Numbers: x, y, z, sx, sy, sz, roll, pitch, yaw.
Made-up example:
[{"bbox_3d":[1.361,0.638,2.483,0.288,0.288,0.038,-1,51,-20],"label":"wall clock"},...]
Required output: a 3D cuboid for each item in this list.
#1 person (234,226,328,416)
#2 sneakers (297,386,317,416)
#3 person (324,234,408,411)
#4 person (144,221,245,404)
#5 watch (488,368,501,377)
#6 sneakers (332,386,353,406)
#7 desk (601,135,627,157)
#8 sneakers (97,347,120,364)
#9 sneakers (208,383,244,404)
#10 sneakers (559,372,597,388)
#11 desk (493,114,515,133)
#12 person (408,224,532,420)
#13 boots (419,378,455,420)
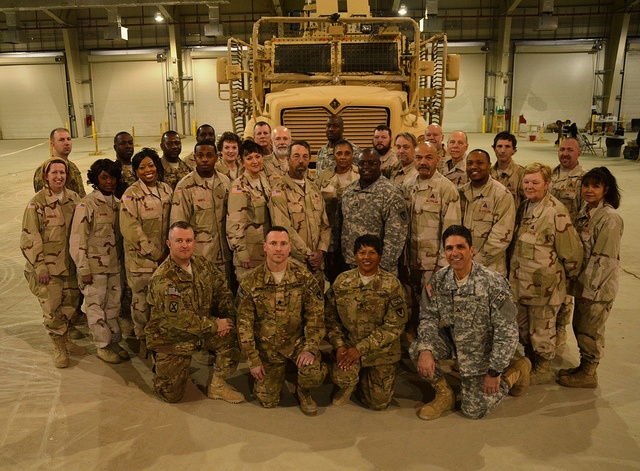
[{"bbox_3d":[-0.362,0.783,4.433,0.835,1.681,0.586,-1,17,-3],"label":"person"},{"bbox_3d":[-0.119,1.569,4.454,0.118,0.116,0.288,-1,-1,-20],"label":"sneakers"},{"bbox_3d":[0.414,0.809,4.474,0.787,1.582,0.521,3,18,10],"label":"person"},{"bbox_3d":[-1.251,0.724,4.587,0.872,1.683,0.703,-4,18,-11],"label":"person"},{"bbox_3d":[1.523,1.197,4.180,0.080,0.072,0.078,17,0,-30],"label":"watch"},{"bbox_3d":[0.223,1.541,4.610,0.110,0.105,0.287,2,2,22],"label":"sneakers"},{"bbox_3d":[11.595,-3.491,18.861,0.876,0.847,0.790,-6,8,-44],"label":"desk"},{"bbox_3d":[-2.336,1.317,5.275,0.274,0.143,0.132,13,21,39],"label":"sneakers"},{"bbox_3d":[-0.915,1.518,4.650,0.399,0.154,0.147,4,9,12],"label":"sneakers"},{"bbox_3d":[2.591,1.455,4.824,0.358,0.149,0.134,1,5,14],"label":"sneakers"},{"bbox_3d":[10.563,-6.452,27.508,1.126,1.021,1.050,1,17,3],"label":"desk"},{"bbox_3d":[1.374,0.790,4.263,1.085,1.712,0.598,3,18,11],"label":"person"},{"bbox_3d":[1.071,1.502,4.423,0.415,0.304,0.166,-9,1,-27],"label":"boots"}]
